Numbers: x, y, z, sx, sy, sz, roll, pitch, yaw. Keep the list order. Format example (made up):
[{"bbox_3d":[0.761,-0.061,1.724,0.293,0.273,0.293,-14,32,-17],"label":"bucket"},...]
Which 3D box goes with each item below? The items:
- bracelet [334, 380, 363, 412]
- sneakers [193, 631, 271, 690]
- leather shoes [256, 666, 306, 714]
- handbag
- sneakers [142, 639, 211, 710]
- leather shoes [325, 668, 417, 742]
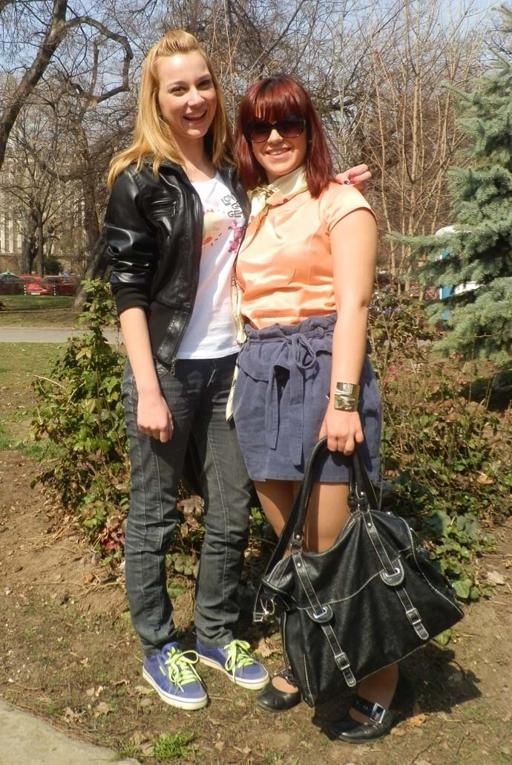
[{"bbox_3d":[0.250,0.038,1.683,0.092,0.130,0.072,2,3,10],"label":"bracelet"},{"bbox_3d":[-0.091,1.010,2.252,0.277,0.110,0.135,7,13,42],"label":"sneakers"},{"bbox_3d":[0.079,1.032,2.050,0.109,0.068,0.214,0,-8,26],"label":"leather shoes"},{"bbox_3d":[0.245,0.480,1.734,0.584,0.675,0.293,-22,17,-11],"label":"handbag"},{"bbox_3d":[-0.292,1.019,2.150,0.124,0.118,0.278,-9,3,-34],"label":"sneakers"},{"bbox_3d":[0.387,1.016,2.010,0.338,0.137,0.150,-10,-3,-44],"label":"leather shoes"}]
